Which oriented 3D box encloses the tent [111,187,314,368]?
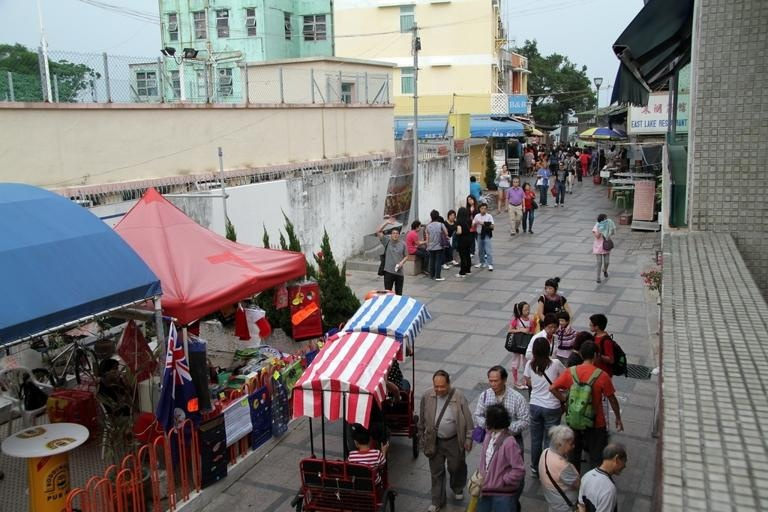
[{"bbox_3d":[-3.070,0.051,10.288,2.468,1.370,2.531,17,34,32],"label":"tent"}]

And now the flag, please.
[{"bbox_3d":[-3.059,1.770,8.980,0.619,1.554,0.259,-10,12,-26],"label":"flag"}]

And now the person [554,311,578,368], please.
[{"bbox_3d":[3.096,1.575,10.663,0.372,1.196,0.430,-9,10,-44],"label":"person"}]

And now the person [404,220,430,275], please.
[{"bbox_3d":[1.052,-0.299,18.612,0.752,1.560,0.637,-3,4,-11],"label":"person"}]

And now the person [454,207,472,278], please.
[{"bbox_3d":[2.340,-0.462,18.629,0.645,2.041,0.617,-8,11,-34],"label":"person"}]

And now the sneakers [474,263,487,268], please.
[{"bbox_3d":[3.100,0.269,19.729,0.365,0.159,0.129,2,6,25],"label":"sneakers"}]

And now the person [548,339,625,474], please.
[{"bbox_3d":[2.915,2.261,8.938,1.000,2.033,0.913,2,18,18],"label":"person"}]

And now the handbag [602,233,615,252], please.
[{"bbox_3d":[6.380,-0.404,17.543,0.217,0.593,0.563,4,5,32],"label":"handbag"}]

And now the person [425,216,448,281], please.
[{"bbox_3d":[1.629,-0.342,18.304,0.653,2.030,0.657,0,-1,27],"label":"person"}]

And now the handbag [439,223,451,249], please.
[{"bbox_3d":[1.782,-0.626,18.200,0.279,1.002,0.704,-2,1,16],"label":"handbag"}]

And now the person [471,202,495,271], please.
[{"bbox_3d":[3.096,-0.667,19.271,0.594,2.065,1.241,-3,11,10],"label":"person"}]

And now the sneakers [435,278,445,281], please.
[{"bbox_3d":[1.667,0.666,18.342,0.289,0.096,0.130,-4,-7,21],"label":"sneakers"}]

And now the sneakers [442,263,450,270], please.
[{"bbox_3d":[1.965,0.294,19.614,0.161,0.204,0.458,-3,-5,1],"label":"sneakers"}]

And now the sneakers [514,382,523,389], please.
[{"bbox_3d":[2.537,2.422,11.561,0.086,0.055,0.144,-10,12,-41],"label":"sneakers"}]

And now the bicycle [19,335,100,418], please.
[{"bbox_3d":[-6.083,2.067,11.667,1.712,1.102,0.874,-18,-8,-41],"label":"bicycle"}]

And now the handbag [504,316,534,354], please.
[{"bbox_3d":[2.583,1.499,11.353,0.501,0.726,0.405,-4,-35,10],"label":"handbag"}]

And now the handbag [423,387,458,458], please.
[{"bbox_3d":[0.779,2.313,8.649,0.346,0.933,0.244,0,-24,38],"label":"handbag"}]

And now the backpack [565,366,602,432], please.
[{"bbox_3d":[2.779,2.010,8.586,0.465,0.876,0.361,-1,11,16],"label":"backpack"}]

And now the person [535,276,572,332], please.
[{"bbox_3d":[3.299,1.272,11.844,0.573,1.752,0.650,-3,9,4],"label":"person"}]

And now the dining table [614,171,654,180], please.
[{"bbox_3d":[10.611,-3.470,26.077,1.183,0.296,0.662,11,18,42],"label":"dining table"}]

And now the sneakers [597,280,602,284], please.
[{"bbox_3d":[6.058,0.707,17.328,0.090,0.078,0.175,-7,-6,14],"label":"sneakers"}]
